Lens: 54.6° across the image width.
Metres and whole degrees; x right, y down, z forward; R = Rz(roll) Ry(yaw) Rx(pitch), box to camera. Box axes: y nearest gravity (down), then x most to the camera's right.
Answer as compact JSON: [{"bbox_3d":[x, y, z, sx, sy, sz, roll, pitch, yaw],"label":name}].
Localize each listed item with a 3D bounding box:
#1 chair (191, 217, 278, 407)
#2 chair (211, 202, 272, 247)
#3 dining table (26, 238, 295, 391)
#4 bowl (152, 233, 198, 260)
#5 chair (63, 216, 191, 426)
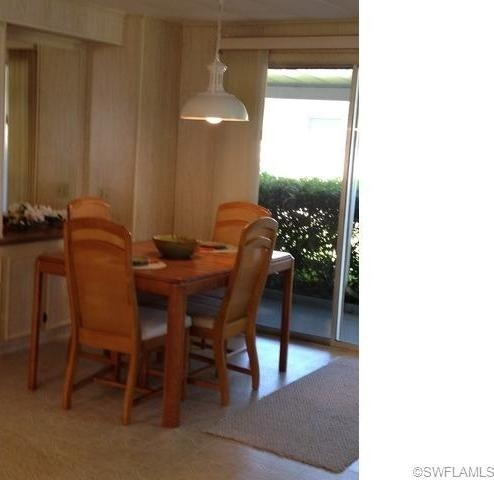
[{"bbox_3d":[-0.182,0.393,3.062,0.468,1.196,0.519,10,8,26],"label":"chair"},{"bbox_3d":[-0.065,-0.164,4.027,0.342,0.643,0.390,7,4,18],"label":"chair"},{"bbox_3d":[-0.591,0.396,3.129,0.919,1.135,1.673,5,6,29],"label":"dining table"},{"bbox_3d":[-0.436,0.048,3.084,0.205,0.103,0.195,1,4,0],"label":"bowl"},{"bbox_3d":[-0.706,0.417,2.813,0.549,1.118,0.615,5,5,19],"label":"chair"}]
